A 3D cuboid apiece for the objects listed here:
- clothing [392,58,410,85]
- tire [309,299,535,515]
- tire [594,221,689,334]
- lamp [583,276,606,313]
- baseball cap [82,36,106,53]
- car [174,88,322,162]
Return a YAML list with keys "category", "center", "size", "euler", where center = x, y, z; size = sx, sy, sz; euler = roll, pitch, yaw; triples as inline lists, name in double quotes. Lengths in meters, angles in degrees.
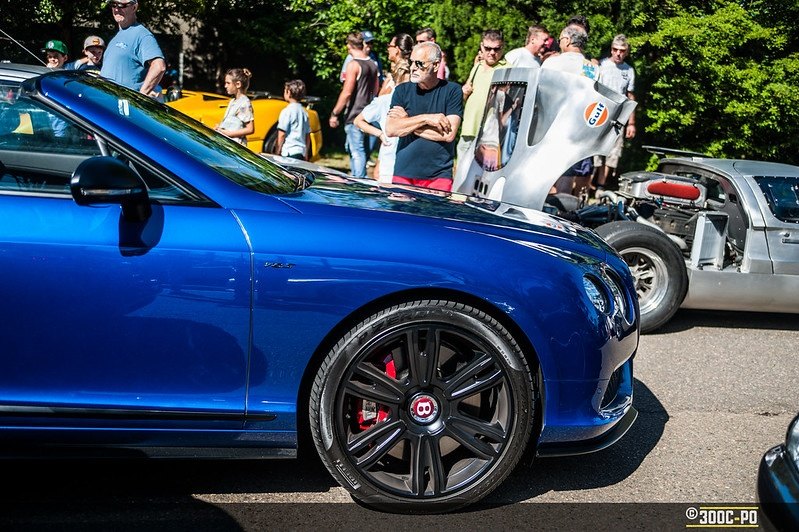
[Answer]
- category: "clothing"
  center: [0.022, -2.137, 7.921]
  size: [0.255, 0.171, 0.319]
  euler: [-4, 7, -6]
- category: "tire"
  center: [0.121, 0.738, 3.985]
  size: [0.847, 0.900, 0.285]
  euler: [-28, 1, 2]
- category: "tire"
  center: [1.886, 0.073, 5.638]
  size: [0.811, 0.896, 0.322]
  euler: [-10, 5, -6]
- category: "lamp"
  center: [1.118, 0.161, 4.107]
  size: [0.050, 0.220, 0.127]
  euler: [-33, -18, 7]
- category: "baseball cap"
  center: [-4.083, -2.985, 9.656]
  size: [0.297, 0.248, 0.411]
  euler: [-4, 7, -20]
- category: "car"
  center: [-2.283, -2.332, 11.124]
  size: [2.198, 0.740, 1.331]
  euler: [4, 10, -12]
